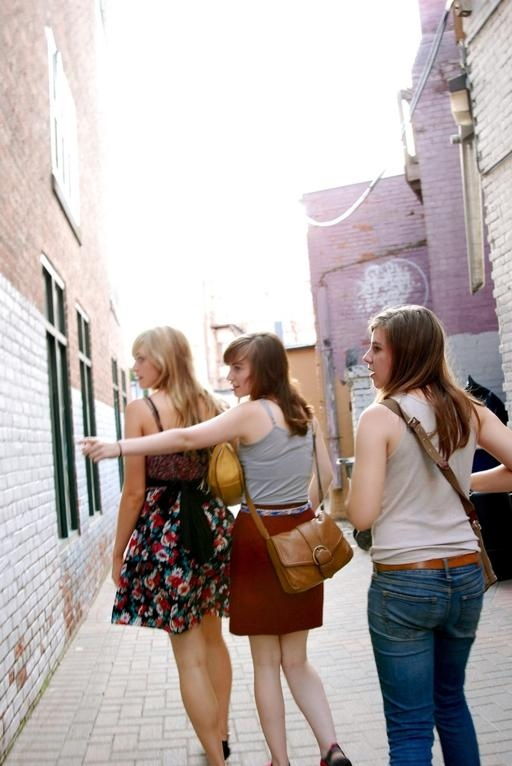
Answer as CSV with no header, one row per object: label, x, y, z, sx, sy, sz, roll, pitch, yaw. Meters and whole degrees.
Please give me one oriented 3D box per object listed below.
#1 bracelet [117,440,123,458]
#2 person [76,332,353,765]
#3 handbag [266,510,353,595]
bracelet,-0.414,0.196,1.536,0.023,0.047,0.039,4,-21,-3
person,0.037,0.716,1.832,0.835,1.532,0.436,-11,2,-23
handbag,0.192,0.586,1.773,0.310,0.234,0.109,-12,3,-35
